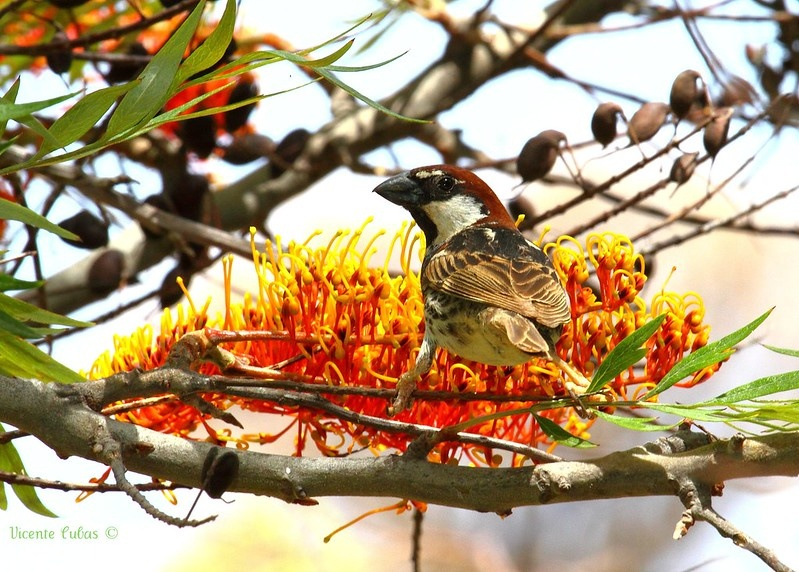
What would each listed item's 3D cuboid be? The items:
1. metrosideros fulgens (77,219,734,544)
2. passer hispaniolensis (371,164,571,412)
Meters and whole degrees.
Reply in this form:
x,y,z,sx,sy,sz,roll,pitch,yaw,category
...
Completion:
x,y,z,sx,sy,sz,roll,pitch,yaw,category
-0.637,0.114,5.296,3.637,1.758,1.408,5,-8,-36,metrosideros fulgens
0.307,0.000,4.552,0.765,1.278,0.431,-7,-52,3,passer hispaniolensis
